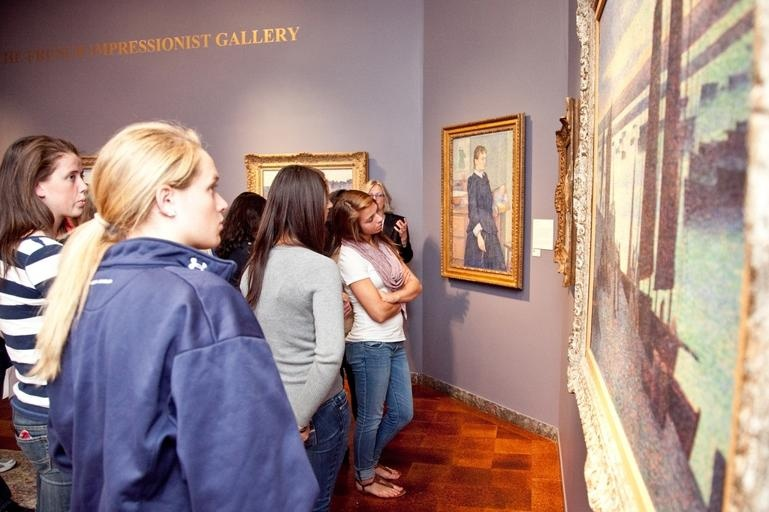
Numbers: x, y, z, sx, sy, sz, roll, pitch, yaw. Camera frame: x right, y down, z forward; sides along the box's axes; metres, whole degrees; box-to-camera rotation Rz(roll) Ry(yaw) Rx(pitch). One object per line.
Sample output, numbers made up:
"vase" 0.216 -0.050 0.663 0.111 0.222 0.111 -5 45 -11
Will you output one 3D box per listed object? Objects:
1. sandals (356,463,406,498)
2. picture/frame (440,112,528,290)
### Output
"sandals" -0.018 1.520 3.597 0.217 0.078 0.192 -3 3 -9
"picture/frame" 0.863 -0.488 4.918 0.130 1.471 1.017 -1 6 -34
